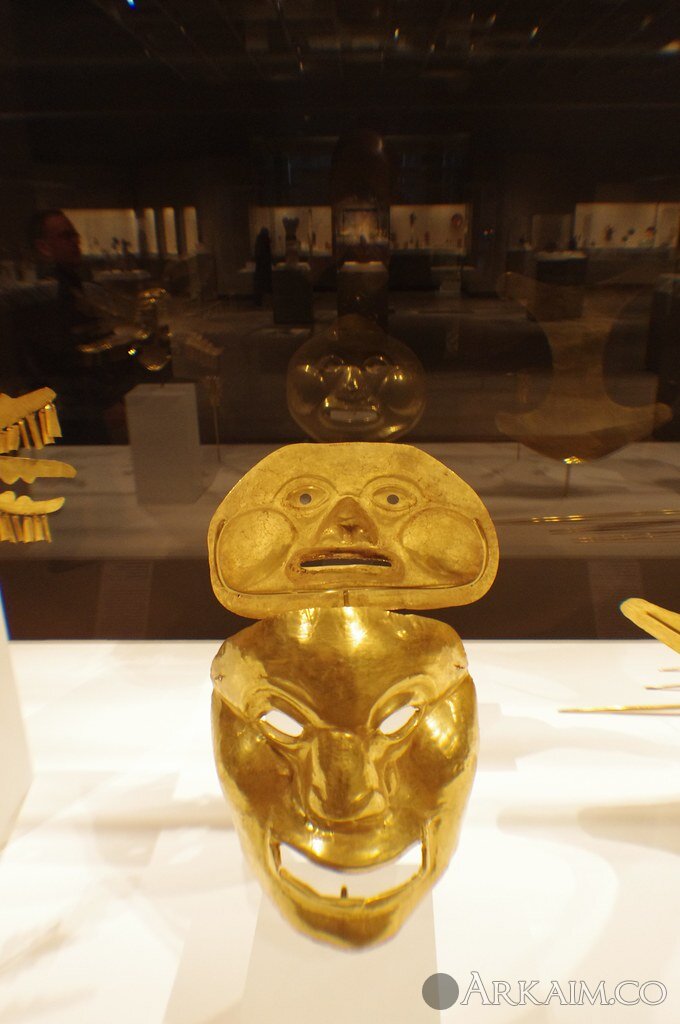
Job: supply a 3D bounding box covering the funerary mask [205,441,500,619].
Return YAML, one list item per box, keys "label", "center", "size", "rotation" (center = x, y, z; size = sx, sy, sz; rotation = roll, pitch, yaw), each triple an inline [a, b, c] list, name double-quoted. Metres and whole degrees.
- label: "funerary mask"
  center: [0.018, 0.036, 1.583]
  size: [0.502, 0.291, 0.067]
  rotation: [-1, 30, 2]
